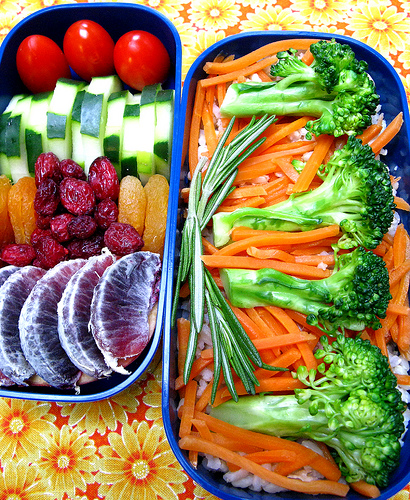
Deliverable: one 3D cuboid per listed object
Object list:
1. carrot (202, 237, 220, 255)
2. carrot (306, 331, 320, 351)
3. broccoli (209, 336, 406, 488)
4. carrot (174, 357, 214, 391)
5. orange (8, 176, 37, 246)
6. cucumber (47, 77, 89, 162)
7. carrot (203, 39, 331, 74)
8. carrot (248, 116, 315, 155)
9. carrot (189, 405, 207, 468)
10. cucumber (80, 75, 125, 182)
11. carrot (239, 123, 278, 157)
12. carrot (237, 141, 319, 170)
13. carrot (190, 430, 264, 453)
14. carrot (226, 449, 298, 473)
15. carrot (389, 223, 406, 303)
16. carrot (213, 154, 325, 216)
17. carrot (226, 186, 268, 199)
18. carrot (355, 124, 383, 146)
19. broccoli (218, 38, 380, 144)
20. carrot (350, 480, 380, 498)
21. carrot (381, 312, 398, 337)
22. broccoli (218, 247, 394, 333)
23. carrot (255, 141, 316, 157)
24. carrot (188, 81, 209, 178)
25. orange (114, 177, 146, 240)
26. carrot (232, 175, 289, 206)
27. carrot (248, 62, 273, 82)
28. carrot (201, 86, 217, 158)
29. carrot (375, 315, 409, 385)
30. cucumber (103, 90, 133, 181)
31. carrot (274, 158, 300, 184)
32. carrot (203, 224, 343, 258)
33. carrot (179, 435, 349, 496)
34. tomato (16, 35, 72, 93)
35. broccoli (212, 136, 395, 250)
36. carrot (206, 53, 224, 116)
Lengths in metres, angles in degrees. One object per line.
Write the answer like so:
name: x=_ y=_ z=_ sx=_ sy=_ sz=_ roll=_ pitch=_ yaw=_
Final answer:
carrot: x=0.013 y=-0.011 z=1.498 sx=0.092 sy=0.024 sz=0.025 roll=35 pitch=91 yaw=41
carrot: x=0.308 y=0.265 z=1.400 sx=0.011 sy=0.040 sz=0.045 roll=-1 pitch=45 yaw=44
broccoli: x=0.263 y=0.420 z=1.315 sx=0.462 sy=0.263 sz=0.377 roll=-4 pitch=75 yaw=12
carrot: x=-0.030 y=0.358 z=1.423 sx=0.145 sy=0.037 sz=0.039 roll=-43 pitch=110 yaw=-23
orange: x=-0.585 y=-0.128 z=1.583 sx=0.099 sy=0.068 sz=0.212 roll=1 pitch=96 yaw=-8
cucumber: x=-0.460 y=-0.429 z=1.656 sx=0.079 sy=0.251 sz=0.252 roll=9 pitch=103 yaw=-1
carrot: x=0.184 y=-0.642 z=1.623 sx=0.398 sy=0.077 sz=0.067 roll=-2 pitch=23 yaw=23
carrot: x=0.237 y=-0.358 z=1.536 sx=0.189 sy=0.031 sz=0.027 roll=-36 pitch=66 yaw=-1
carrot: x=-0.013 y=0.555 z=1.372 sx=0.028 sy=0.116 sz=0.090 roll=6 pitch=39 yaw=15
cucumber: x=-0.339 y=-0.389 z=1.626 sx=0.085 sy=0.265 sz=0.265 roll=7 pitch=34 yaw=1
carrot: x=0.179 y=-0.350 z=1.575 sx=0.042 sy=0.014 sz=0.142 roll=41 pitch=80 yaw=-10
carrot: x=0.223 y=-0.294 z=1.518 sx=0.204 sy=0.033 sz=0.030 roll=-20 pitch=97 yaw=0
carrot: x=0.069 y=0.539 z=1.405 sx=0.222 sy=0.052 sz=0.038 roll=17 pitch=50 yaw=0
carrot: x=0.161 y=0.574 z=1.338 sx=0.170 sy=0.043 sz=0.042 roll=-10 pitch=69 yaw=11
carrot: x=0.571 y=0.030 z=1.476 sx=0.043 sy=0.037 sz=0.254 roll=4 pitch=71 yaw=3
carrot: x=0.193 y=-0.193 z=1.477 sx=0.303 sy=0.091 sz=0.182 roll=-25 pitch=81 yaw=6
carrot: x=0.127 y=-0.169 z=1.519 sx=0.129 sy=0.023 sz=0.039 roll=-7 pitch=57 yaw=15
carrot: x=0.500 y=-0.355 z=1.505 sx=0.111 sy=0.030 sz=0.030 roll=-35 pitch=54 yaw=-10
broccoli: x=0.291 y=-0.481 z=1.510 sx=0.430 sy=0.227 sz=0.341 roll=-2 pitch=83 yaw=15
carrot: x=0.428 y=0.641 z=1.326 sx=0.027 sy=0.094 sz=0.031 roll=13 pitch=76 yaw=-18
carrot: x=0.535 y=0.214 z=1.427 sx=0.054 sy=0.019 sz=0.061 roll=7 pitch=92 yaw=-10
broccoli: x=0.289 y=0.108 z=1.442 sx=0.484 sy=0.304 sz=0.237 roll=6 pitch=113 yaw=20
carrot: x=0.253 y=-0.318 z=1.537 sx=0.159 sy=0.023 sz=0.017 roll=-14 pitch=83 yaw=5
carrot: x=-0.028 y=-0.435 z=1.686 sx=0.058 sy=0.348 sz=0.052 roll=11 pitch=56 yaw=-1
orange: x=-0.237 y=-0.130 z=1.551 sx=0.086 sy=0.060 sz=0.192 roll=0 pitch=87 yaw=-4
carrot: x=0.171 y=-0.182 z=1.513 sx=0.138 sy=0.024 sz=0.032 roll=-30 pitch=34 yaw=-5
carrot: x=0.185 y=-0.594 z=1.640 sx=0.023 sy=0.022 sz=0.096 roll=-25 pitch=75 yaw=-42
carrot: x=0.015 y=-0.423 z=1.640 sx=0.058 sy=0.052 sz=0.232 roll=-13 pitch=75 yaw=35
carrot: x=0.525 y=0.297 z=1.415 sx=0.040 sy=0.163 sz=0.161 roll=-14 pitch=26 yaw=4
cucumber: x=-0.286 y=-0.372 z=1.617 sx=0.074 sy=0.231 sz=0.242 roll=5 pitch=68 yaw=-5
carrot: x=0.254 y=-0.248 z=1.501 sx=0.032 sy=0.030 sz=0.110 roll=-36 pitch=72 yaw=6
carrot: x=0.245 y=-0.017 z=1.466 sx=0.325 sy=0.077 sz=0.089 roll=-9 pitch=81 yaw=19
carrot: x=0.175 y=0.589 z=1.349 sx=0.376 sy=0.054 sz=0.090 roll=24 pitch=94 yaw=-2
tomato: x=-0.605 y=-0.691 z=1.812 sx=0.169 sy=0.169 sz=0.214 roll=-3 pitch=95 yaw=35
broccoli: x=0.305 y=-0.115 z=1.486 sx=0.525 sy=0.260 sz=0.354 roll=-16 pitch=35 yaw=5
carrot: x=0.034 y=-0.528 z=1.665 sx=0.032 sy=0.041 sz=0.302 roll=6 pitch=97 yaw=1
